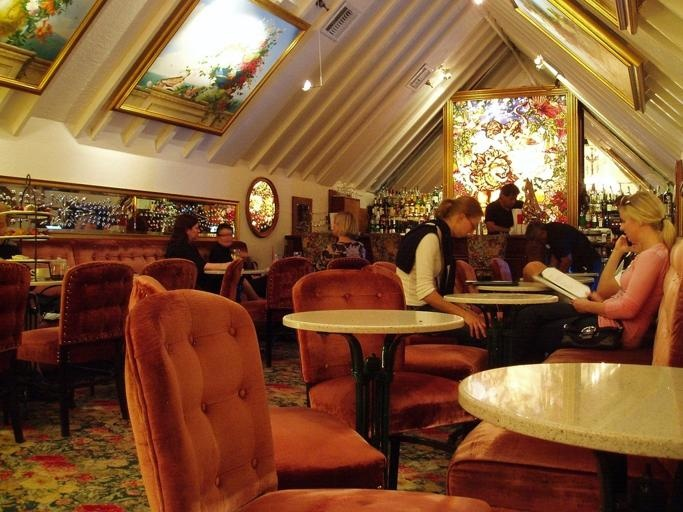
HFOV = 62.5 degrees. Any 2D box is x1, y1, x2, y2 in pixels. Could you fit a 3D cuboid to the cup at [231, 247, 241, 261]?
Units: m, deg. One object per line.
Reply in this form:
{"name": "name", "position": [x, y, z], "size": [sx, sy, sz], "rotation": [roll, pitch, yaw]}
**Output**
{"name": "cup", "position": [-1.375, -0.028, 7.254], "size": [0.178, 0.170, 0.318], "rotation": [-1, 6, -4]}

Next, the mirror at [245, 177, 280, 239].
{"name": "mirror", "position": [-1.336, -0.803, 9.245], "size": [0.141, 1.242, 1.035], "rotation": [-1, -3, 26]}

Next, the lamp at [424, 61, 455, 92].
{"name": "lamp", "position": [1.663, -3.078, 9.655], "size": [0.363, 0.398, 0.419], "rotation": [-2, 31, 35]}

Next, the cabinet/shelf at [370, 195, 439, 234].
{"name": "cabinet/shelf", "position": [1.285, -0.951, 11.548], "size": [1.543, 0.527, 1.539], "rotation": [-7, 17, 21]}

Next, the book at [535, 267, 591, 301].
{"name": "book", "position": [1.444, 0.173, 3.658], "size": [0.191, 0.065, 0.280], "rotation": [-32, 48, -30]}

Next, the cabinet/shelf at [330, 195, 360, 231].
{"name": "cabinet/shelf", "position": [0.118, -0.806, 11.000], "size": [0.267, 0.737, 0.841], "rotation": [4, 5, 26]}

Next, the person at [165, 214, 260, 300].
{"name": "person", "position": [-1.496, -0.028, 6.748], "size": [0.702, 1.186, 0.864], "rotation": [-1, -4, 33]}

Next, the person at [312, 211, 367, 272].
{"name": "person", "position": [-0.016, -0.102, 6.340], "size": [0.533, 0.731, 0.505], "rotation": [8, 3, 31]}

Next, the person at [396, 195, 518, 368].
{"name": "person", "position": [0.772, 0.052, 3.910], "size": [0.726, 0.897, 0.712], "rotation": [-2, 10, -39]}

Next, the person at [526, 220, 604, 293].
{"name": "person", "position": [2.609, 0.158, 6.533], "size": [0.810, 1.125, 0.501], "rotation": [-6, 9, 16]}
